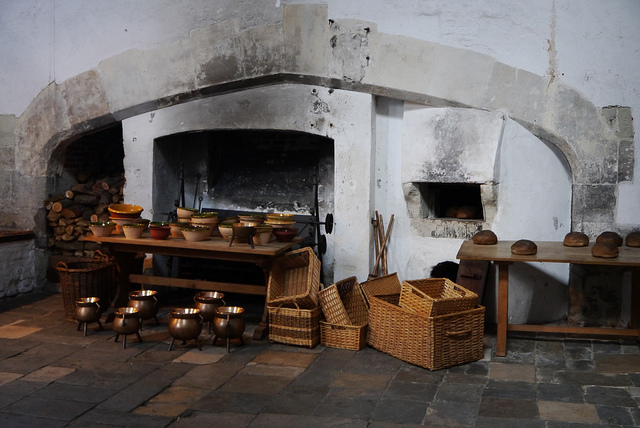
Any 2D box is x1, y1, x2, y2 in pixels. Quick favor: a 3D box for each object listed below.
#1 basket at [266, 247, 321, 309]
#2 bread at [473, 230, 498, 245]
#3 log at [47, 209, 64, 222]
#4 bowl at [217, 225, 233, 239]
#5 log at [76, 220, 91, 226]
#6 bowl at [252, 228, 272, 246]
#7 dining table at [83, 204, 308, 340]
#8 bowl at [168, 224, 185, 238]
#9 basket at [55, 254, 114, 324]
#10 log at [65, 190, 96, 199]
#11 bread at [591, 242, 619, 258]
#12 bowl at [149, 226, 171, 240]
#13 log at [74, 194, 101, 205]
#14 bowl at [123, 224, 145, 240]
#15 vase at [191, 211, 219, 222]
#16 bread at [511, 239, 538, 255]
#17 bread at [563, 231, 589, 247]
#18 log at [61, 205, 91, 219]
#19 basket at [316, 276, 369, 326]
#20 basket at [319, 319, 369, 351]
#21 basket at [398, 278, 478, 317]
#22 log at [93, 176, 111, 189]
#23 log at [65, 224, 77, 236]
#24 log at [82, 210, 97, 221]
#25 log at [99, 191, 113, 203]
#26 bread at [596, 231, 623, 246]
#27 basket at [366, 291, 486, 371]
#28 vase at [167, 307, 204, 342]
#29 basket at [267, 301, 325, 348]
[{"bbox_3d":[-0.282,0.718,5.066,0.505,0.688,0.277,-20,-47,19],"label":"basket"},{"bbox_3d":[1.754,0.239,4.846,0.213,0.132,0.170,-4,12,-16],"label":"bread"},{"bbox_3d":[-3.720,0.012,6.407,0.180,0.168,0.066,11,7,0],"label":"log"},{"bbox_3d":[-1.068,0.188,5.132,0.153,0.101,0.149,0,-4,0],"label":"bowl"},{"bbox_3d":[-3.296,0.114,6.376,0.180,0.078,0.054,2,12,13],"label":"log"},{"bbox_3d":[-0.629,0.248,5.030,0.193,0.127,0.188,0,-4,0],"label":"bowl"},{"bbox_3d":[-1.466,0.691,5.438,2.158,0.982,0.999,5,15,3],"label":"dining table"},{"bbox_3d":[-1.664,0.184,5.316,0.174,0.118,0.170,1,6,0],"label":"bowl"},{"bbox_3d":[-2.865,0.904,5.769,0.728,0.779,0.776,1,3,20],"label":"basket"},{"bbox_3d":[-3.394,-0.286,6.386,0.261,0.075,0.166,7,-9,-34],"label":"log"},{"bbox_3d":[2.641,0.309,4.231,0.168,0.090,0.166,-1,5,36],"label":"bread"},{"bbox_3d":[-1.795,0.207,5.134,0.170,0.099,0.168,0,-5,0],"label":"bowl"},{"bbox_3d":[-3.254,-0.211,6.387,0.365,0.142,0.095,1,12,8],"label":"log"},{"bbox_3d":[-2.137,0.196,5.235,0.184,0.112,0.181,-2,-1,0],"label":"bowl"},{"bbox_3d":[-1.329,0.025,5.293,0.177,0.073,0.182,3,6,44],"label":"vase"},{"bbox_3d":[1.976,0.307,4.400,0.234,0.123,0.170,-4,12,-16],"label":"bread"},{"bbox_3d":[2.597,0.252,4.630,0.171,0.093,0.169,-2,1,20],"label":"bread"},{"bbox_3d":[-3.427,-0.048,6.356,0.331,0.133,0.176,-4,10,-1],"label":"log"},{"bbox_3d":[0.293,0.950,4.966,0.142,0.573,0.554,14,21,-10],"label":"basket"},{"bbox_3d":[0.242,1.218,4.753,0.335,0.163,0.331,-1,-2,21],"label":"basket"},{"bbox_3d":[1.152,0.799,4.474,0.512,0.181,0.393,-7,14,-35],"label":"basket"},{"bbox_3d":[-3.167,-0.444,6.617,0.104,0.101,0.375,-37,20,4],"label":"log"},{"bbox_3d":[-3.502,0.210,6.390,0.159,0.138,0.050,1,12,6],"label":"log"},{"bbox_3d":[-3.214,0.014,6.347,0.138,0.080,0.073,-8,23,25],"label":"log"},{"bbox_3d":[-2.983,-0.236,6.380,0.157,0.141,0.037,23,-20,-13],"label":"log"},{"bbox_3d":[2.939,0.231,4.637,0.185,0.109,0.186,1,0,44],"label":"bread"},{"bbox_3d":[1.046,1.159,4.737,0.842,0.491,1.083,-2,3,-42],"label":"basket"},{"bbox_3d":[-1.347,1.145,4.674,0.292,0.402,0.333,2,12,12],"label":"vase"},{"bbox_3d":[-0.265,1.165,4.957,0.549,0.391,0.414,-2,-6,25],"label":"basket"}]
